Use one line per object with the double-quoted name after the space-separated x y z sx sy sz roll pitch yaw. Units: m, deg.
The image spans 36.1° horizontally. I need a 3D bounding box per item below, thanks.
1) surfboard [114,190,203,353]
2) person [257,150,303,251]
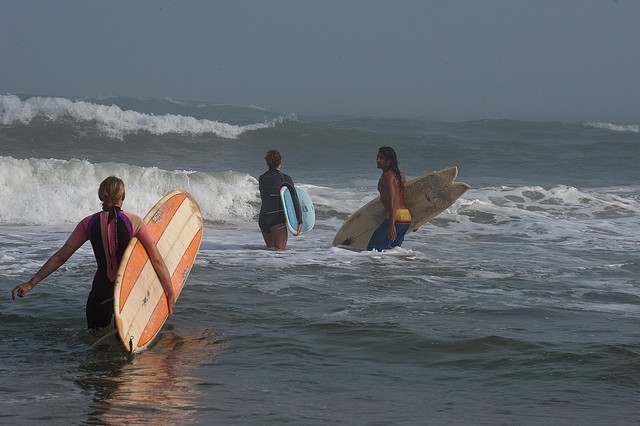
-2.186 1.056 12.244 0.841 2.627 0.376 -20 59 -28 "surfboard"
-0.672 -0.198 16.026 0.652 1.662 0.467 6 12 14 "person"
